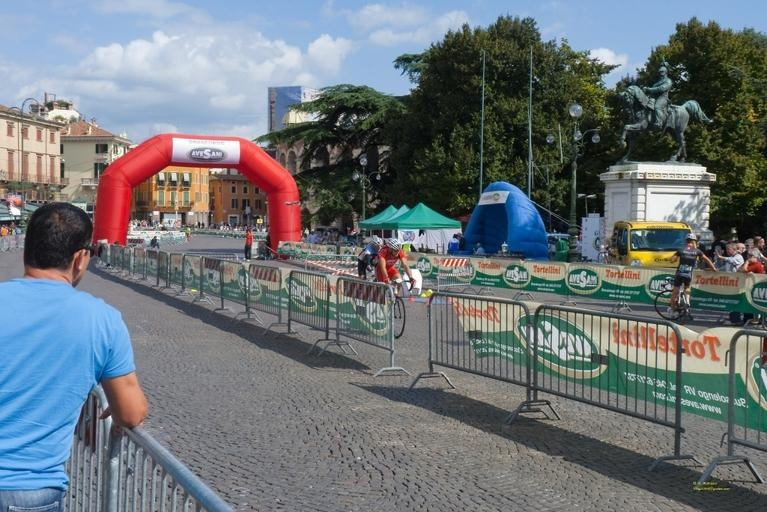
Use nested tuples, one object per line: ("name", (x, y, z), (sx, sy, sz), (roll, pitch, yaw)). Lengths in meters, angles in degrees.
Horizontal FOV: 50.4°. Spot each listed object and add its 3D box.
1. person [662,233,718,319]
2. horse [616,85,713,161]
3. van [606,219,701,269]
("person", (6.541, 0.428, 16.884), (0.952, 1.752, 0.626), (11, 18, 30))
("horse", (12.589, -5.653, 36.014), (4.749, 3.260, 1.108), (-1, 4, -18))
("van", (7.627, -0.387, 23.491), (1.199, 1.269, 3.225), (0, 1, 4))
